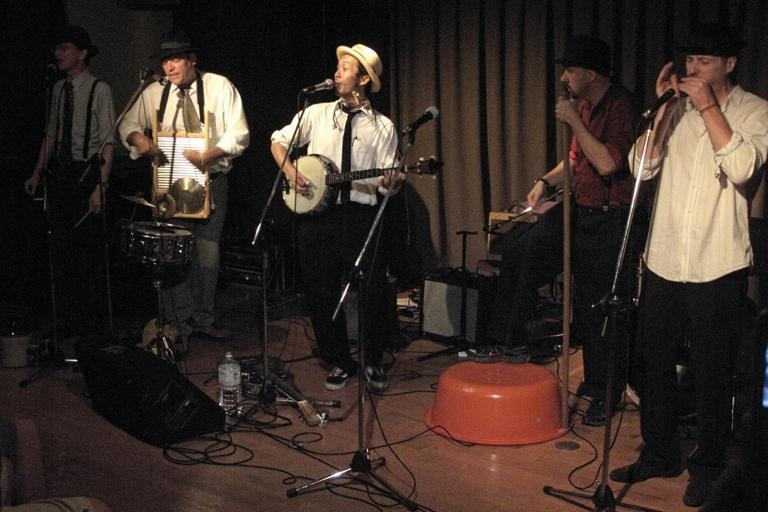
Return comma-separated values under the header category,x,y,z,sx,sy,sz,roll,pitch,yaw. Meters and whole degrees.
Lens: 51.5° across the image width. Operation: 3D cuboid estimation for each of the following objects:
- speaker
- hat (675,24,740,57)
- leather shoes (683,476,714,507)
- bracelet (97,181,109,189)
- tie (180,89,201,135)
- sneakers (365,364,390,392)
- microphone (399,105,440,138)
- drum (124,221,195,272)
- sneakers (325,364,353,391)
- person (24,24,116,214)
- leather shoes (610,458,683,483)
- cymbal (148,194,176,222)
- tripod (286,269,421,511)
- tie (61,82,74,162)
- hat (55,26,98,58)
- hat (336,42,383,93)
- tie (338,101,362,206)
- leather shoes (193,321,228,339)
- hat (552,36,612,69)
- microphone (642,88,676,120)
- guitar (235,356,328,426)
category,x,y,z,sx,sy,sz,roll,pitch,yaw
speaker,-1.552,0.890,5.211,0.987,0.602,0.338,4,12,22
hat,1.771,-1.172,4.322,0.324,0.184,0.164,0,11,3
leather shoes,1.776,1.357,4.499,0.079,0.105,0.264,-1,41,37
bracelet,-2.196,-0.550,6.199,0.075,0.051,0.078,9,4,7
tie,-1.516,-1.146,6.254,0.151,0.328,0.062,-5,12,-20
sneakers,-0.058,0.929,5.808,0.117,0.074,0.210,-4,46,-13
microphone,0.215,-0.787,4.704,0.189,0.178,0.424,0,11,4
drum,-1.572,-0.079,5.619,0.363,0.145,0.370,12,12,-3
sneakers,-0.332,0.920,5.877,0.104,0.109,0.285,2,-6,18
person,-2.438,-1.120,6.154,0.636,1.294,0.401,-6,13,-24
leather shoes,1.545,1.262,4.718,0.471,0.163,0.204,-5,-33,24
cymbal,-1.697,-0.374,6.156,0.171,0.197,0.195,-4,12,-15
tripod,-0.215,0.685,4.862,0.779,1.373,1.201,-2,12,-8
tie,-2.416,-1.027,6.080,0.084,0.591,0.105,2,12,11
hat,-2.397,-1.700,6.220,0.225,0.119,0.271,14,-4,19
hat,-0.160,-1.359,5.721,0.285,0.341,0.379,3,12,16
tie,-0.234,-0.702,5.557,0.080,0.653,0.112,3,-2,18
leather shoes,-1.486,0.658,6.841,0.223,0.078,0.143,3,-5,4
hat,1.271,-1.302,5.127,0.299,0.157,0.214,20,35,-6
microphone,1.461,-0.803,4.207,0.132,0.157,0.245,6,13,28
guitar,-0.743,0.934,5.453,0.320,0.266,0.868,-15,29,-38
